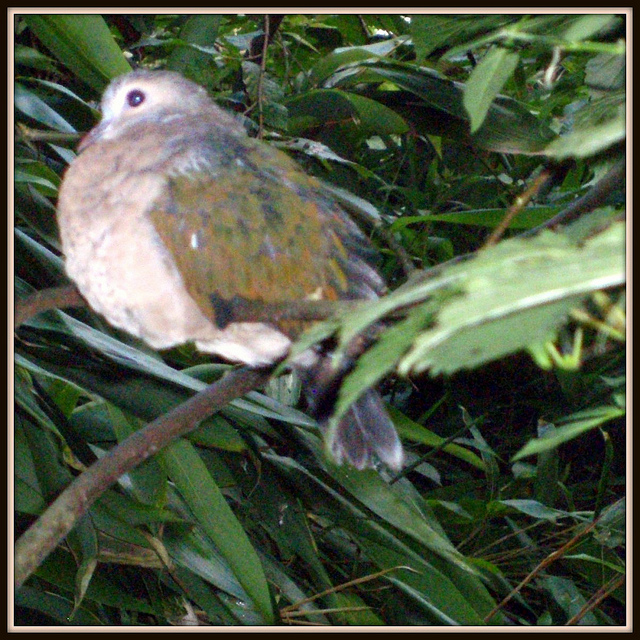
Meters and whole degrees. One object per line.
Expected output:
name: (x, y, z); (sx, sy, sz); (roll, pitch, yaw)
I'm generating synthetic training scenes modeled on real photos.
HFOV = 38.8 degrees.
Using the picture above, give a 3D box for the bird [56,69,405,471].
bird: (-0.134, -0.113, 1.006); (0.299, 0.257, 0.338); (-34, 49, -22)
